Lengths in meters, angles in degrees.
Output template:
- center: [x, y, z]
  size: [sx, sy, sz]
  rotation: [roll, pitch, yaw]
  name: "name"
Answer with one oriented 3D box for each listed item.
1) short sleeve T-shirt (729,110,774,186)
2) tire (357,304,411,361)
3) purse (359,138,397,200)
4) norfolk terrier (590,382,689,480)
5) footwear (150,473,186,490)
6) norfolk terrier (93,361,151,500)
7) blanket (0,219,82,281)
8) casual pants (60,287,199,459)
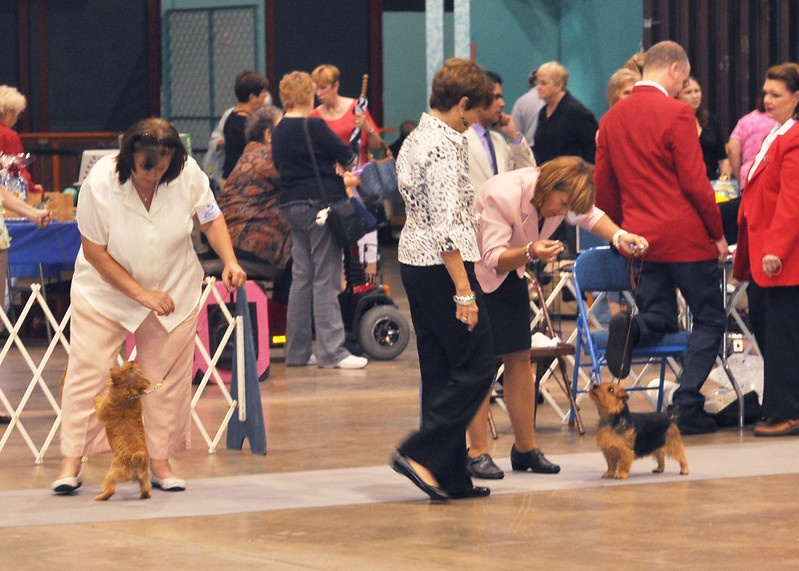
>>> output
- center: [2.978, -1.138, 13.291]
  size: [0.431, 0.641, 0.218]
  rotation: [11, 13, 31]
  name: "short sleeve T-shirt"
- center: [-0.183, 0.399, 12.972]
  size: [0.372, 0.391, 0.129]
  rotation: [-16, 11, -31]
  name: "tire"
- center: [-0.152, -0.902, 12.919]
  size: [0.233, 0.573, 0.393]
  rotation: [-9, -17, 8]
  name: "purse"
- center: [1.372, 0.899, 9.422]
  size: [0.713, 0.545, 0.326]
  rotation: [3, -7, -34]
  name: "norfolk terrier"
- center: [-1.362, 1.160, 9.148]
  size: [0.206, 0.087, 0.081]
  rotation: [-7, -10, 39]
  name: "footwear"
- center: [-1.545, 0.857, 8.989]
  size: [0.292, 0.793, 0.529]
  rotation: [3, -9, -29]
  name: "norfolk terrier"
- center: [-3.045, -0.316, 13.590]
  size: [0.647, 0.363, 0.672]
  rotation: [0, 3, 6]
  name: "blanket"
- center: [-1.570, 0.506, 9.047]
  size: [0.910, 1.301, 0.190]
  rotation: [5, -16, -15]
  name: "casual pants"
